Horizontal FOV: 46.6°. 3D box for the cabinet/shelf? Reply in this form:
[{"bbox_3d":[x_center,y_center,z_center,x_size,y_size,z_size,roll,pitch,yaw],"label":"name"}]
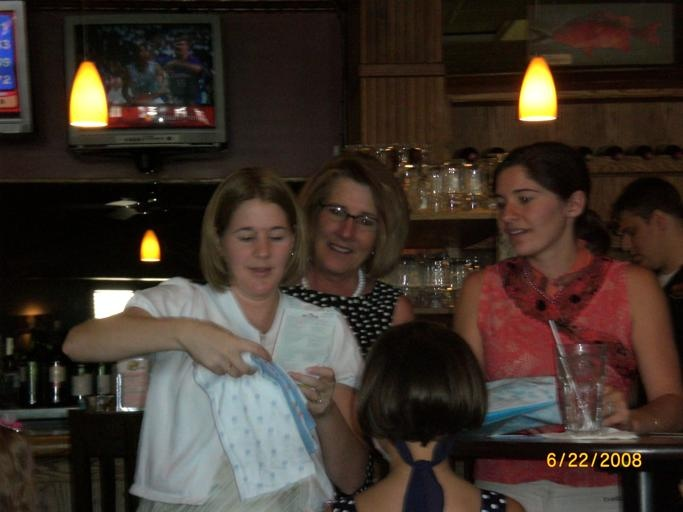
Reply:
[{"bbox_3d":[0.357,-0.114,3.567,0.976,0.783,0.496,0,-16,-1],"label":"cabinet/shelf"}]

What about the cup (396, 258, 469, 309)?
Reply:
[{"bbox_3d":[0.468,0.167,4.178,0.324,0.268,0.301,1,-6,0],"label":"cup"}]

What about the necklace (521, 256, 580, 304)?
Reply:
[{"bbox_3d":[0.720,0.091,2.800,0.181,0.107,0.086,-2,-35,-12],"label":"necklace"}]

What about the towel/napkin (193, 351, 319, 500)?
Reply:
[{"bbox_3d":[-0.266,0.496,2.474,0.396,0.440,0.120,-18,1,-9],"label":"towel/napkin"}]

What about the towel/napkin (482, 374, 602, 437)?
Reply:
[{"bbox_3d":[0.549,0.433,2.332,0.252,0.068,0.175,0,34,5],"label":"towel/napkin"}]

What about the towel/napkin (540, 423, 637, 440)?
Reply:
[{"bbox_3d":[0.692,0.510,2.248,0.262,0.027,0.242,-3,0,9],"label":"towel/napkin"}]

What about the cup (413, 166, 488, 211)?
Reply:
[{"bbox_3d":[0.566,-0.354,4.092,0.294,0.158,0.284,1,-4,0],"label":"cup"}]

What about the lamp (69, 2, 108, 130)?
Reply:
[{"bbox_3d":[-1.464,-0.945,4.540,0.199,0.609,0.232,-4,1,-19],"label":"lamp"}]
